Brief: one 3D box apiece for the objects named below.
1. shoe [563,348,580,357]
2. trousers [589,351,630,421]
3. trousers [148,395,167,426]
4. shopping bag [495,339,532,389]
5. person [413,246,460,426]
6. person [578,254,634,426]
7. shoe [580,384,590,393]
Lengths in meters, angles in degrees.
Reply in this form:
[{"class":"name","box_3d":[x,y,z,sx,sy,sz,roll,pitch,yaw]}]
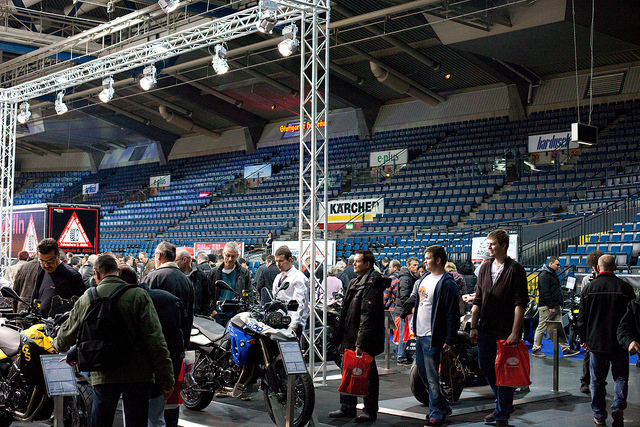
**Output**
[{"class":"shoe","box_3d":[6.102,3.414,19.742,0.506,0.179,0.157,-2,-1,-14]},{"class":"trousers","box_3d":[5.295,3.181,14.808,0.665,1.256,0.327,-1,-13,17]},{"class":"trousers","box_3d":[-2.769,3.381,13.797,0.245,0.524,0.469,-4,-13,27]},{"class":"shopping bag","box_3d":[3.525,2.767,14.860,0.619,0.869,0.281,0,-12,10]},{"class":"person","box_3d":[2.141,2.319,15.184,0.791,3.313,0.712,2,-12,1]},{"class":"person","box_3d":[5.268,2.314,14.867,0.996,3.127,0.655,-1,-13,16]},{"class":"shoe","box_3d":[5.477,3.651,16.736,0.170,0.138,0.123,-1,2,-29]}]
